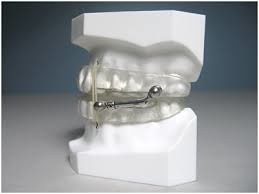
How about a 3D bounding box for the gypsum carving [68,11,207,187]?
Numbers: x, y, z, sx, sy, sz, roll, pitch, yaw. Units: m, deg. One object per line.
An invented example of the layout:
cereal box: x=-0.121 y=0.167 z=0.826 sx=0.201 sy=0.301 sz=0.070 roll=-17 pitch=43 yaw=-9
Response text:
gypsum carving: x=0.009 y=-0.014 z=1.921 sx=0.786 sy=0.941 sz=0.354 roll=3 pitch=10 yaw=15
